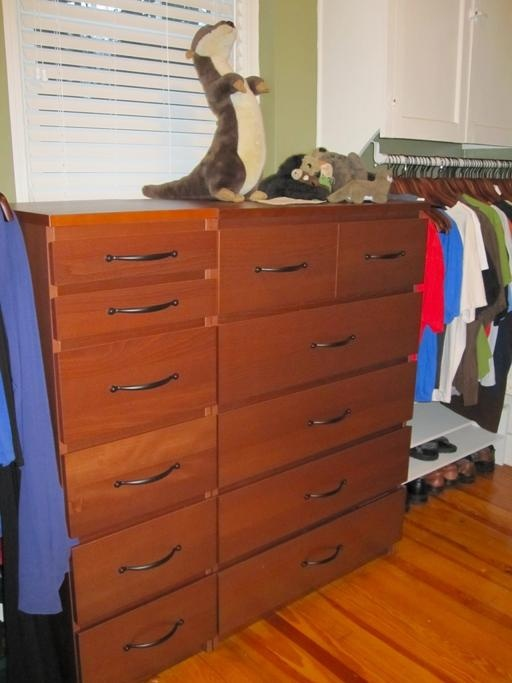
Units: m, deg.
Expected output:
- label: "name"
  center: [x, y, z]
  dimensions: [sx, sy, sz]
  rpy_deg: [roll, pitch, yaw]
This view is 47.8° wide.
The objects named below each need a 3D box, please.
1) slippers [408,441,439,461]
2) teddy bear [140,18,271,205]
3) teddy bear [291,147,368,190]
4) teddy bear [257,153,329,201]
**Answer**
- label: "slippers"
  center: [0.649, 0.412, 2.180]
  dimensions: [0.067, 0.021, 0.067]
  rpy_deg: [-14, 16, -43]
- label: "teddy bear"
  center: [-0.103, -0.557, 1.434]
  dimensions: [0.201, 0.415, 0.330]
  rpy_deg: [-10, 18, -38]
- label: "teddy bear"
  center: [0.201, -0.473, 1.589]
  dimensions: [0.152, 0.059, 0.169]
  rpy_deg: [21, 26, 35]
- label: "teddy bear"
  center: [0.103, -0.425, 1.560]
  dimensions: [0.140, 0.093, 0.186]
  rpy_deg: [10, 1, 22]
